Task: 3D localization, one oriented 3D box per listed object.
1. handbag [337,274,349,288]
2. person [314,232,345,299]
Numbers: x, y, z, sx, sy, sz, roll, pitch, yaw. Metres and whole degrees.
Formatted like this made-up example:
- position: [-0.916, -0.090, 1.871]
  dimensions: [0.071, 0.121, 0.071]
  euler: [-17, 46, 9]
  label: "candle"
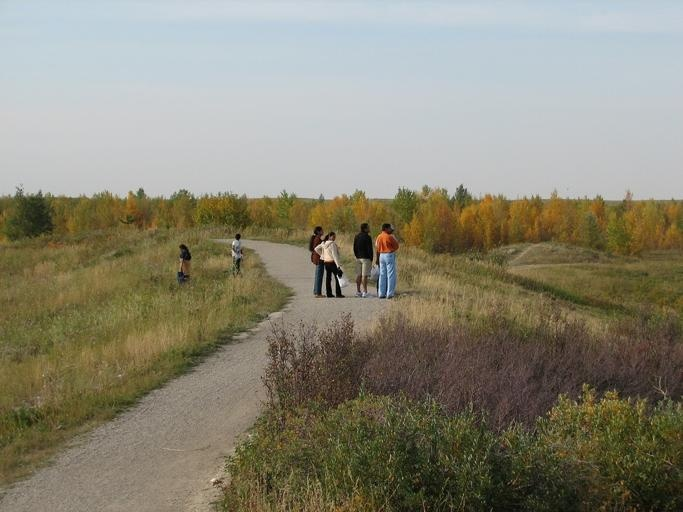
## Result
- position: [0.038, 0.809, 26.433]
  dimensions: [0.347, 0.473, 0.258]
  euler: [-5, 7, -8]
  label: "handbag"
- position: [-0.380, 0.315, 25.754]
  dimensions: [0.765, 2.127, 1.455]
  euler: [-1, 4, 8]
  label: "person"
